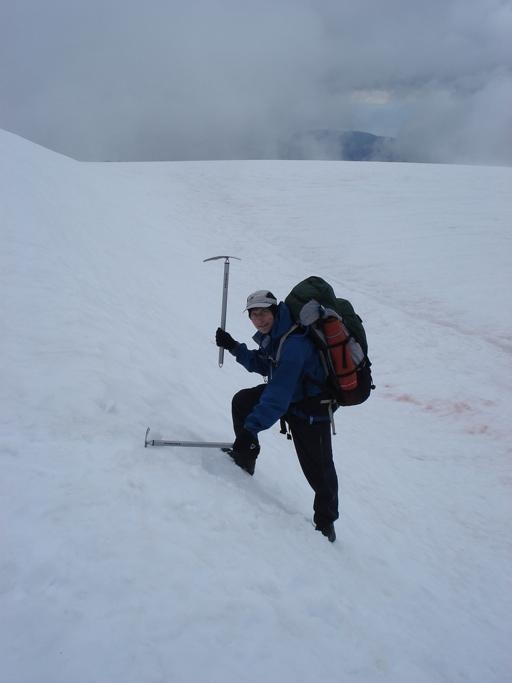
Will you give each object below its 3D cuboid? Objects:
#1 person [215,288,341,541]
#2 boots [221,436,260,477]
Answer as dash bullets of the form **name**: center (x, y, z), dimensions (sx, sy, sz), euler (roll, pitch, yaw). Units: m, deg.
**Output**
- **person**: center (0.024, 0.592, 4.822), dimensions (1.024, 1.018, 1.810), euler (2, 91, 37)
- **boots**: center (-0.093, 0.886, 5.101), dimensions (0.107, 0.358, 0.254), euler (-37, 110, -36)
